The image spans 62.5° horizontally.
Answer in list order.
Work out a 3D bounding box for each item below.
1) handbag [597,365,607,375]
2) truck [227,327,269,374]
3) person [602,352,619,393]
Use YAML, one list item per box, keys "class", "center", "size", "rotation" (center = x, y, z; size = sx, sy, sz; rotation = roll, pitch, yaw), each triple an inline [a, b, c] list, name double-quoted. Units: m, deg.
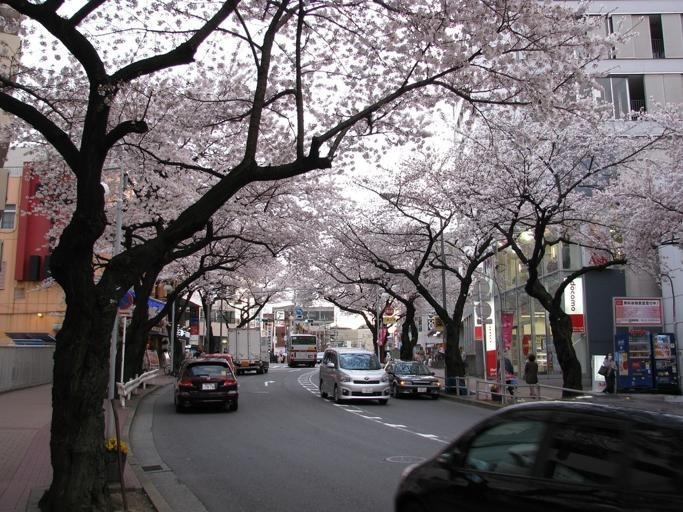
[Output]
- class: "handbag"
  center: [10.924, 4.832, 23.549]
  size: [0.276, 0.565, 0.454]
  rotation: [5, -20, 22]
- class: "truck"
  center: [-7.549, 7.626, 45.765]
  size: [2.258, 2.676, 4.542]
  rotation: [0, -5, 0]
- class: "person"
  center: [11.250, 4.891, 23.532]
  size: [0.507, 1.654, 1.549]
  rotation: [-7, -4, 26]
